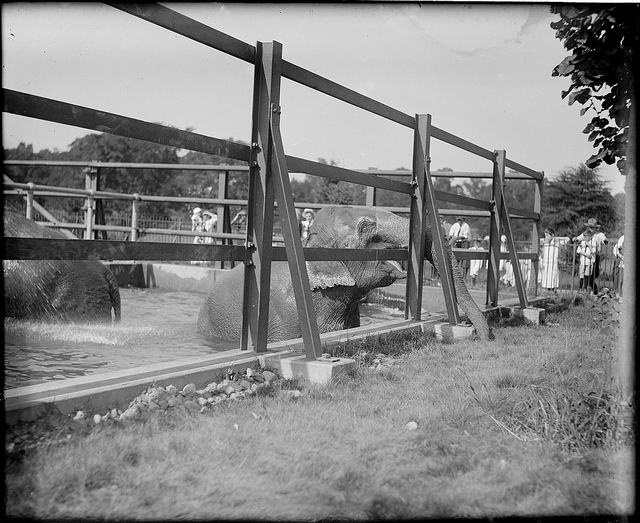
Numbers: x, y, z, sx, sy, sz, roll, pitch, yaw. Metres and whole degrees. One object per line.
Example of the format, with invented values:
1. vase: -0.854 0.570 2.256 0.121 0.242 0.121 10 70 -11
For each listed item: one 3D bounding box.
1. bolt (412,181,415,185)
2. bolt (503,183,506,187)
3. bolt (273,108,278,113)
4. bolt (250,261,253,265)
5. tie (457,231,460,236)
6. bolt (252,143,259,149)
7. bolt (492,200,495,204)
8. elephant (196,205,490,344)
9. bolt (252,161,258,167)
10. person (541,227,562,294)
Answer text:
1. bolt: 1.048 -0.882 6.870 0.008 0.039 0.033 4 -3 -27
2. bolt: 2.682 -1.119 8.892 0.023 0.046 0.190 6 12 22
3. bolt: -0.329 -1.118 4.537 0.011 0.033 0.045 9 13 39
4. bolt: -0.515 0.007 4.603 0.022 0.026 0.006 -8 13 -42
5. tie: 3.535 -0.723 15.591 0.021 0.033 0.125 10 39 25
6. bolt: -0.479 -0.862 4.552 0.026 0.031 0.029 2 0 -30
7. bolt: 2.468 -0.849 8.708 0.031 0.050 0.042 2 11 1
8. elephant: 0.145 0.185 6.731 3.026 1.506 1.355 1 11 -5
9. bolt: -0.487 -0.728 4.557 0.031 0.038 0.008 2 -3 2
10. person: 5.658 -0.044 15.006 0.416 1.475 0.993 5 11 20
